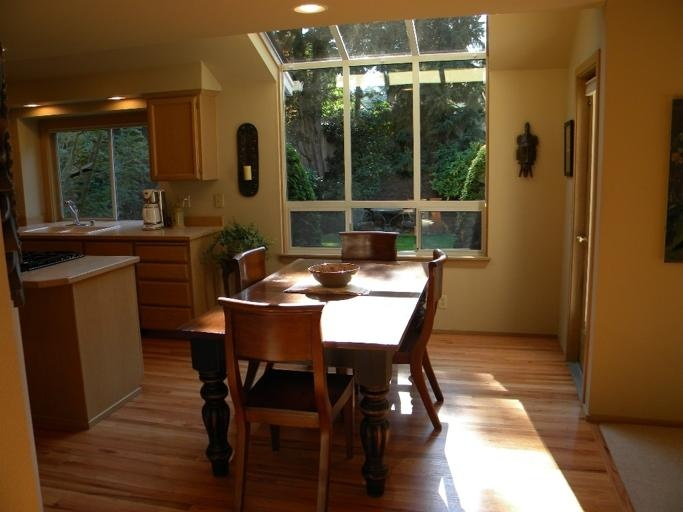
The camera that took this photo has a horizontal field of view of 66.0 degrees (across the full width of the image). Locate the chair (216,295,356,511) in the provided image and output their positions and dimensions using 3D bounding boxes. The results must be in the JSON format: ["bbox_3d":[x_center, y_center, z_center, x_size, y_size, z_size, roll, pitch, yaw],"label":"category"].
[{"bbox_3d":[-0.260,0.700,2.628,0.644,1.111,0.543,-1,14,0],"label":"chair"}]

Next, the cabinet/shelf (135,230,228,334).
[{"bbox_3d":[-1.603,0.231,5.150,0.739,0.942,0.703,-2,11,-2],"label":"cabinet/shelf"}]

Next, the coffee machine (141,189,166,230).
[{"bbox_3d":[-1.891,-0.473,5.276,0.185,0.375,0.310,-3,14,-5],"label":"coffee machine"}]

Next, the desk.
[{"bbox_3d":[-1.837,0.695,3.638,0.573,0.886,0.736,-16,-12,8],"label":"desk"}]

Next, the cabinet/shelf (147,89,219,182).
[{"bbox_3d":[-1.569,-1.159,5.196,0.656,0.873,0.493,0,9,5],"label":"cabinet/shelf"}]

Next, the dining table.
[{"bbox_3d":[-0.142,0.433,3.774,1.253,1.065,2.361,4,23,9],"label":"dining table"}]

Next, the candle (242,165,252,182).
[{"bbox_3d":[-0.922,-0.809,5.160,0.091,0.150,0.056,-4,14,-10],"label":"candle"}]

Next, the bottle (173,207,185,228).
[{"bbox_3d":[-1.632,-0.380,5.257,0.105,0.192,0.078,-10,16,-31],"label":"bottle"}]
